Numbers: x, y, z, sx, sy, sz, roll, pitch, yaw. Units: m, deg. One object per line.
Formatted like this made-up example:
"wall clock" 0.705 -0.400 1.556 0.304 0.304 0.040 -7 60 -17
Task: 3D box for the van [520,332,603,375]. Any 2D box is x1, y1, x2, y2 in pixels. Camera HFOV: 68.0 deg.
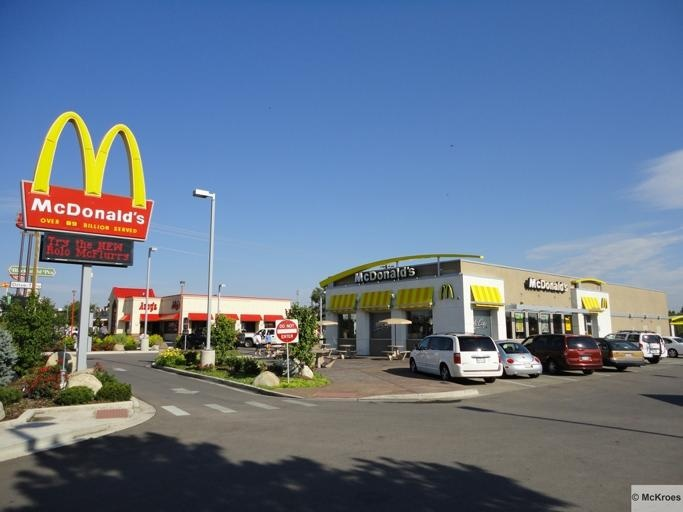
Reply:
"van" 10.886 4.650 24.973 1.976 1.047 3.460 1 -3 -11

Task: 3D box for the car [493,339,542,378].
"car" 7.780 4.566 24.190 2.004 1.317 3.467 -1 3 -13

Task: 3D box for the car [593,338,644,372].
"car" 14.474 5.002 26.205 1.346 0.753 2.499 -2 -1 -5

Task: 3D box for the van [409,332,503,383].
"van" 4.730 4.237 22.039 2.074 1.174 3.738 3 -5 -20

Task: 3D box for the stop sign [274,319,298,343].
"stop sign" -2.174 2.980 20.400 0.791 0.978 0.947 1 -10 0
